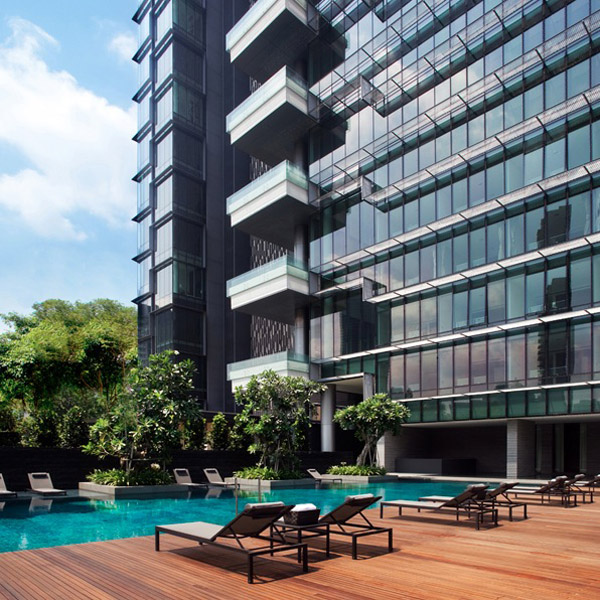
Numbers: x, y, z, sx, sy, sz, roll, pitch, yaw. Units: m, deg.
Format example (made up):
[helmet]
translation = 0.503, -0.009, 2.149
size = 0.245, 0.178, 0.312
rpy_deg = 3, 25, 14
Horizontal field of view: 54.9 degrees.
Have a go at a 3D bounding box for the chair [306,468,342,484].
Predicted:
[chair]
translation = 1.211, 8.516, 27.511
size = 1.490, 0.676, 0.782
rpy_deg = -5, -10, 24
